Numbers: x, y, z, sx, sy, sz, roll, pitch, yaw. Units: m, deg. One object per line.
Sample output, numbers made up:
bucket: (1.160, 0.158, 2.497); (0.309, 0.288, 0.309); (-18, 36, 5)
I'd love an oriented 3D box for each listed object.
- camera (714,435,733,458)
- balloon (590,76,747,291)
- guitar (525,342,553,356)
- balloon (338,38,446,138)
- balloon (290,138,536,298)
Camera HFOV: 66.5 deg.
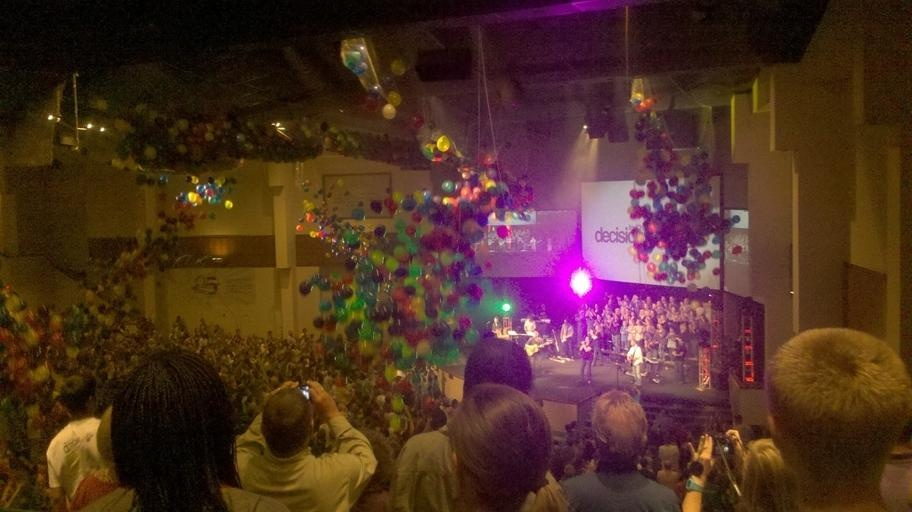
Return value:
camera: (1.843, 1.307, 4.783); (0.112, 0.124, 0.206); (0, -5, 13)
balloon: (1.612, -0.544, 5.737); (1.193, 1.510, 0.997); (-1, -5, 20)
guitar: (0.799, 0.905, 6.764); (0.228, 0.095, 0.147); (-14, 3, -22)
balloon: (-0.556, -1.329, 5.404); (0.673, 0.552, 0.508); (2, -5, -9)
balloon: (-0.325, -0.387, 6.314); (1.760, 1.294, 0.800); (6, 30, -3)
